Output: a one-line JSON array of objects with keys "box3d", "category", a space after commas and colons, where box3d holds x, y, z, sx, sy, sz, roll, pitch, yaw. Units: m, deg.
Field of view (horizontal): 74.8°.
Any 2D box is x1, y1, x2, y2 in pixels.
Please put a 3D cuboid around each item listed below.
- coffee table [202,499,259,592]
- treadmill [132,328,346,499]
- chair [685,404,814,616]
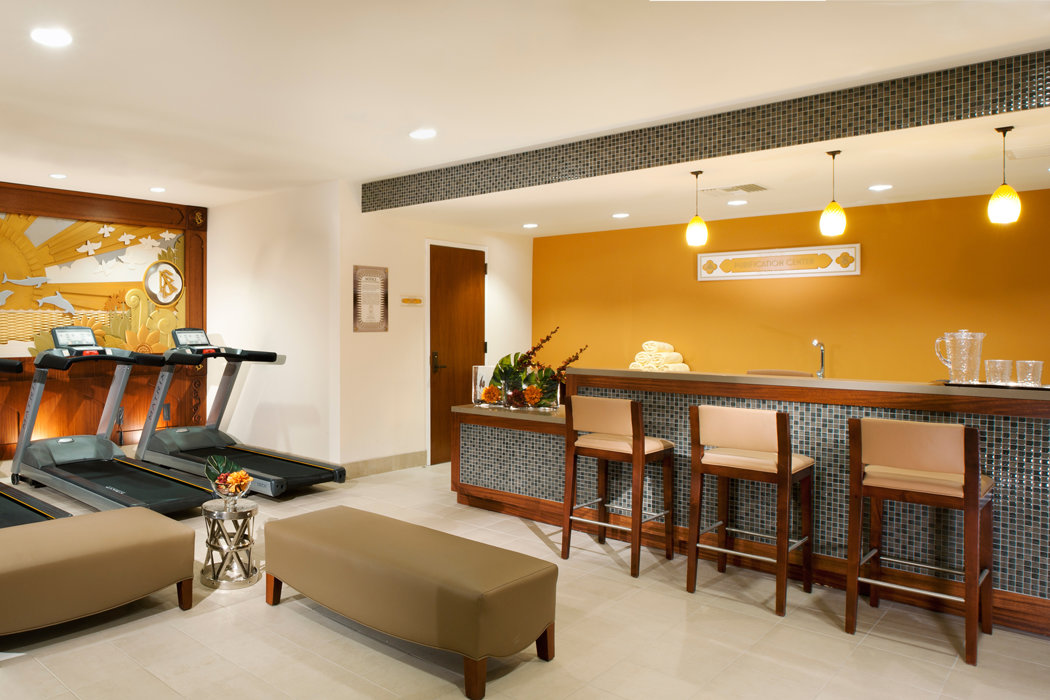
[{"box3d": [-2.186, 1.451, 5.243, 0.466, 0.608, 0.531, 3, 6, -25], "category": "coffee table"}, {"box3d": [-3.209, 0.661, 7.672, 2.508, 1.402, 1.063, 6, 3, 33], "category": "treadmill"}, {"box3d": [1.671, 1.102, 5.254, 0.898, 1.555, 0.844, 0, 0, 39], "category": "chair"}]
